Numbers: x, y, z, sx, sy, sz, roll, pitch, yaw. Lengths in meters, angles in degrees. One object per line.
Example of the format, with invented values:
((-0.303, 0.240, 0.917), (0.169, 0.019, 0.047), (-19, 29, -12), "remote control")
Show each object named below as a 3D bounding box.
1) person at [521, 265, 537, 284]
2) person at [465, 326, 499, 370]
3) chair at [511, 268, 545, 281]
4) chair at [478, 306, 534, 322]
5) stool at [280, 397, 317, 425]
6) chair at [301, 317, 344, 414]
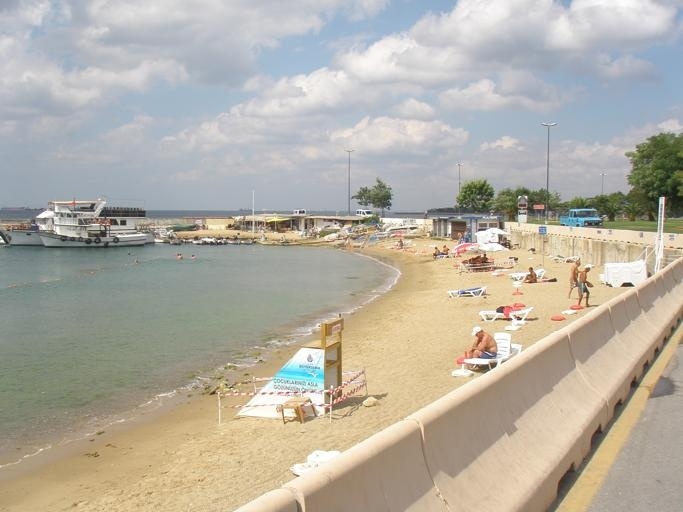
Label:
((12.149, 1.190, 32.268), (1.082, 1.143, 0.986), (-3, 10, -18), "person")
((3.937, 2.635, 14.492), (1.065, 1.031, 0.696), (-2, -2, 1), "person")
((12.119, 1.400, 32.731), (2.329, 0.637, 1.216), (0, 3, 14), "chair")
((6.964, 2.707, 21.758), (2.360, 0.597, 1.042), (1, 3, 22), "chair")
((-1.162, 3.910, 12.843), (0.678, 0.424, 0.662), (-4, 1, 20), "stool")
((-0.522, 2.881, 13.169), (0.951, 2.225, 1.173), (-2, -2, 21), "chair")
